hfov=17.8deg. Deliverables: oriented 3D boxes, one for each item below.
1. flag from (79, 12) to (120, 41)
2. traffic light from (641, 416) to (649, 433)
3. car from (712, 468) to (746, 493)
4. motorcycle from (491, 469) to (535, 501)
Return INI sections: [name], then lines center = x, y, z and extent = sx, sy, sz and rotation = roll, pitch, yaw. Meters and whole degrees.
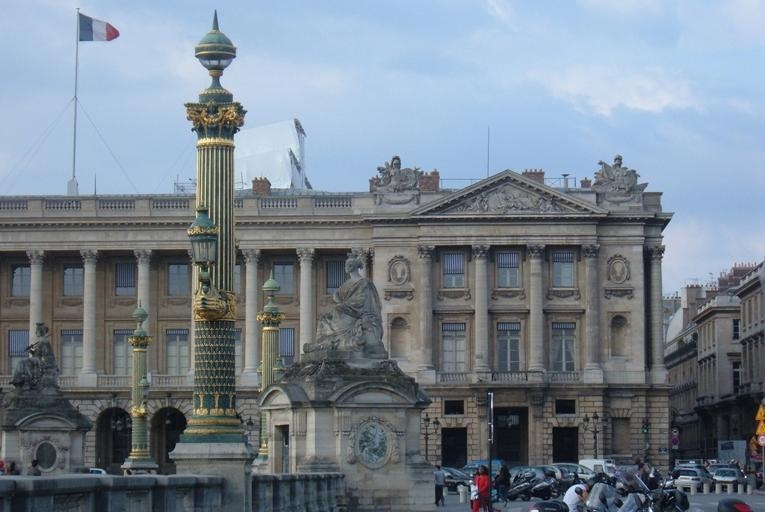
[flag]
center = -20.719, -16.513, 175.261
extent = 2.465, 1.591, 4.315
rotation = -1, -10, -7
[traffic light]
center = 18.740, 12.045, 173.856
extent = 0.504, 1.168, 0.541
rotation = -1, -10, -8
[car]
center = 22.965, 14.802, 161.628
extent = 2.144, 2.168, 8.409
rotation = -3, -10, 8
[motorcycle]
center = 8.169, 14.014, 148.224
extent = 3.138, 1.778, 1.510
rotation = -6, -12, 32
